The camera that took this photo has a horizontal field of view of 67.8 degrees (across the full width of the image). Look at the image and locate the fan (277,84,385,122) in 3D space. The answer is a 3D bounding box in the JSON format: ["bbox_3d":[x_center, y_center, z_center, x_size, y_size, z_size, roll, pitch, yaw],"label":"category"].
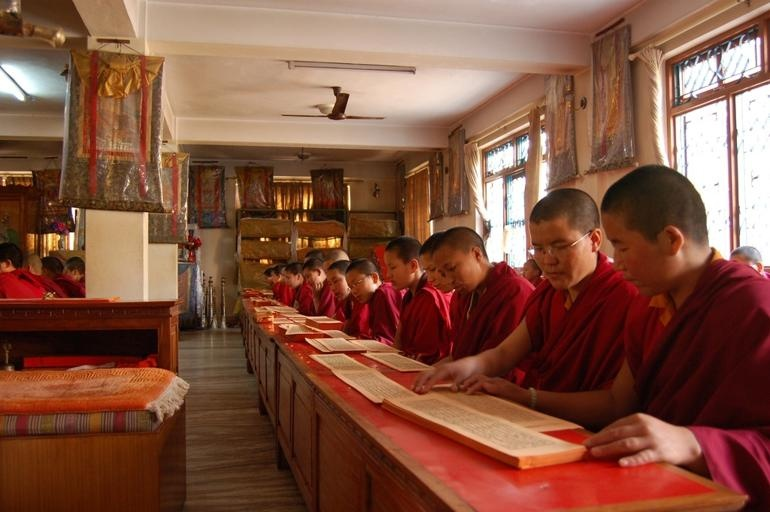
[{"bbox_3d":[-0.712,-2.052,8.001,1.025,0.340,1.959,2,1,-22],"label":"fan"}]

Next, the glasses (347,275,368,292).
[{"bbox_3d":[-0.192,0.201,4.066,0.099,0.070,0.125,4,5,-29],"label":"glasses"}]

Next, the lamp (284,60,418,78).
[{"bbox_3d":[-0.382,-2.306,6.933,1.604,0.114,0.405,2,1,-9],"label":"lamp"}]

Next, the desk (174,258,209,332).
[{"bbox_3d":[-3.726,0.617,10.613,0.839,1.242,0.846,-9,21,-25],"label":"desk"}]
